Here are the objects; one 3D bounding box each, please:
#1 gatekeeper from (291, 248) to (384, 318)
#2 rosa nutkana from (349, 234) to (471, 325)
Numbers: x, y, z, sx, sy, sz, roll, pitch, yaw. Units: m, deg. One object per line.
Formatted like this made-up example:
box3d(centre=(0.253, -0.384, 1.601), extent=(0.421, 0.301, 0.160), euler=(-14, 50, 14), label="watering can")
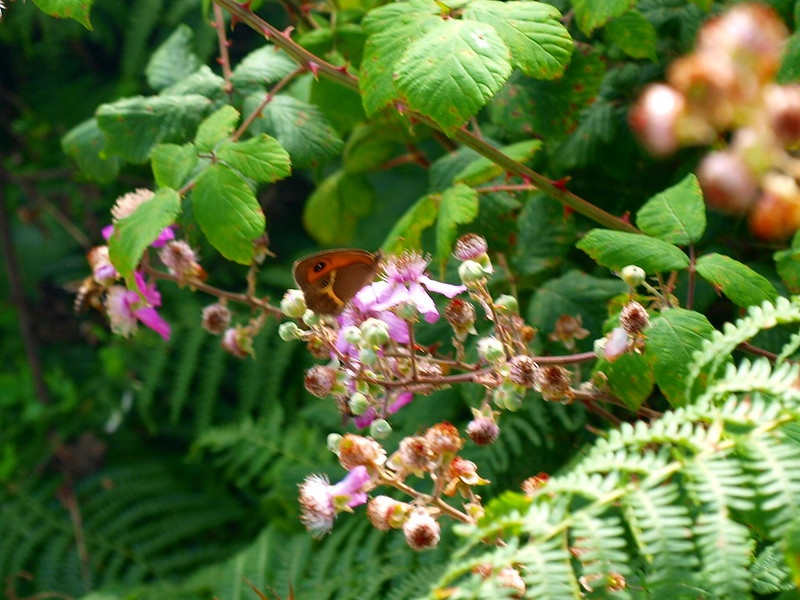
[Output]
box3d(centre=(-0.125, -0.045, 1.812), extent=(0.125, 0.145, 0.159), euler=(12, 20, 37), label="gatekeeper")
box3d(centre=(0.013, -0.032, 1.792), extent=(0.141, 0.076, 0.161), euler=(3, 38, 3), label="rosa nutkana")
